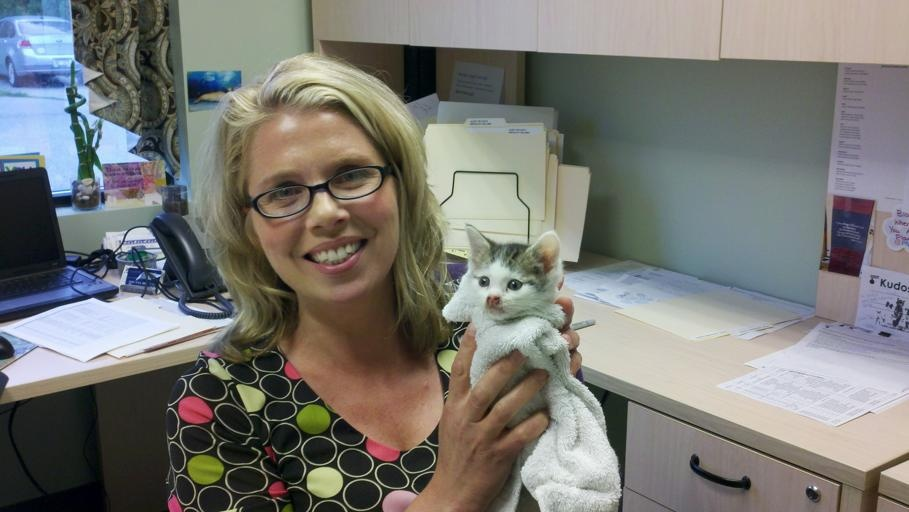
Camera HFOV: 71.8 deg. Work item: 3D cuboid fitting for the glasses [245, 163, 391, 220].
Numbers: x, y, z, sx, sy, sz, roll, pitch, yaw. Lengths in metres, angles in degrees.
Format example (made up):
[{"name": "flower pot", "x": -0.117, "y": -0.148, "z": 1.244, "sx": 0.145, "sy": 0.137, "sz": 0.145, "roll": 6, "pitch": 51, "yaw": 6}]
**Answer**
[{"name": "glasses", "x": -0.310, "y": -0.149, "z": 1.469, "sx": 0.324, "sy": 0.103, "sz": 0.054, "roll": -6, "pitch": 18, "yaw": -7}]
